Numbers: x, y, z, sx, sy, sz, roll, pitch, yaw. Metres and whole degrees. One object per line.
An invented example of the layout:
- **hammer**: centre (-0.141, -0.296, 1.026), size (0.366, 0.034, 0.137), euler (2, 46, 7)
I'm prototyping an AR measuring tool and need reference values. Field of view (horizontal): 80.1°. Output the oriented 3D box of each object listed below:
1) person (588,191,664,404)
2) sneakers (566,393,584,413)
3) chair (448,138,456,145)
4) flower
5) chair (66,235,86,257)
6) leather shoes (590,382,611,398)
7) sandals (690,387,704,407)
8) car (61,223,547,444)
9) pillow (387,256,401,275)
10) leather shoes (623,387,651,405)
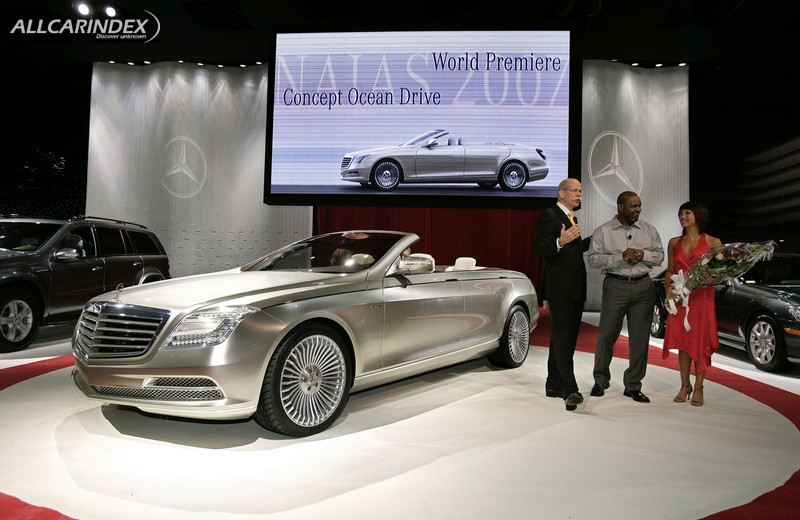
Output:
- **person**: centre (2.559, 0.416, 5.500), size (0.770, 2.399, 0.488), euler (5, 10, 26)
- **sneakers**: centre (1.924, 1.562, 5.209), size (0.269, 0.176, 0.125), euler (-4, 10, -31)
- **chair**: centre (0.971, -2.245, 8.881), size (0.152, 0.121, 0.226), euler (4, 29, 10)
- **flower**: centre (3.586, 0.213, 5.368), size (0.956, 0.880, 0.353), euler (1, 9, 2)
- **chair**: centre (-5.352, -0.221, 7.913), size (0.258, 0.189, 0.397), euler (7, -21, -8)
- **leather shoes**: centre (2.341, 1.554, 5.592), size (0.101, 0.143, 0.319), euler (-3, -11, 29)
- **sandals**: centre (3.397, 1.550, 5.421), size (0.121, 0.200, 0.257), euler (7, 11, 34)
- **car**: centre (-0.887, 0.649, 5.269), size (4.553, 1.844, 1.470), euler (-6, 11, -37)
- **pillow**: centre (-0.070, 0.060, 5.193), size (0.070, 0.080, 0.244), euler (12, 46, 29)
- **leather shoes**: centre (2.749, 1.585, 5.512), size (0.112, 0.118, 0.269), euler (-5, 6, -37)
